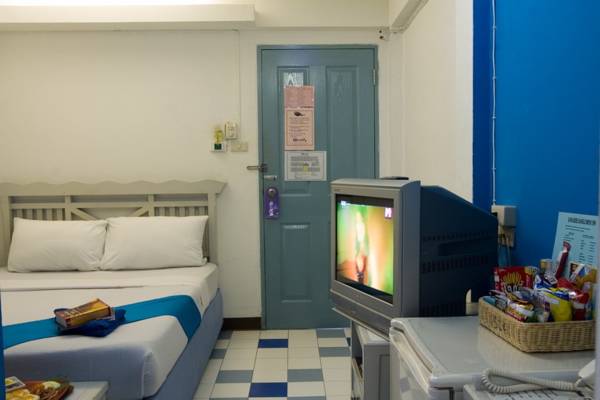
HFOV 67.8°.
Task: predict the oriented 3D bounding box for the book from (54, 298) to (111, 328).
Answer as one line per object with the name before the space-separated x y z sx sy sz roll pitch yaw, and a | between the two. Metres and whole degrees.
book | -1.374 0.721 2.835 0.202 0.062 0.198 -4 7 -40

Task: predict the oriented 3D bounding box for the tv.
tv | 0.697 0.345 2.872 0.768 0.823 0.837 -1 0 -20
